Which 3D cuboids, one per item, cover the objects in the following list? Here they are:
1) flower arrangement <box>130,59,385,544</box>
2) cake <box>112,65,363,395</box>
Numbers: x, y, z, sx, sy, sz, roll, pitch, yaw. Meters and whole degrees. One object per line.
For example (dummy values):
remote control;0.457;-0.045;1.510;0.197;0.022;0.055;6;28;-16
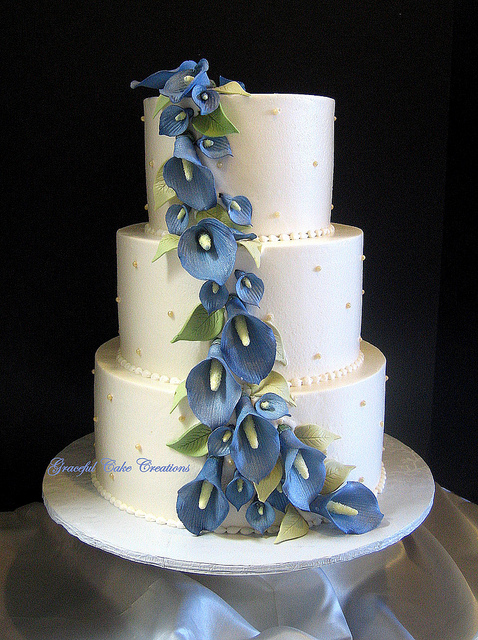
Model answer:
flower arrangement;0.024;-0.041;1.696;0.628;1.240;0.292;2;7;19
cake;0.028;-0.281;2.008;0.672;0.692;0.653;-6;16;-8
